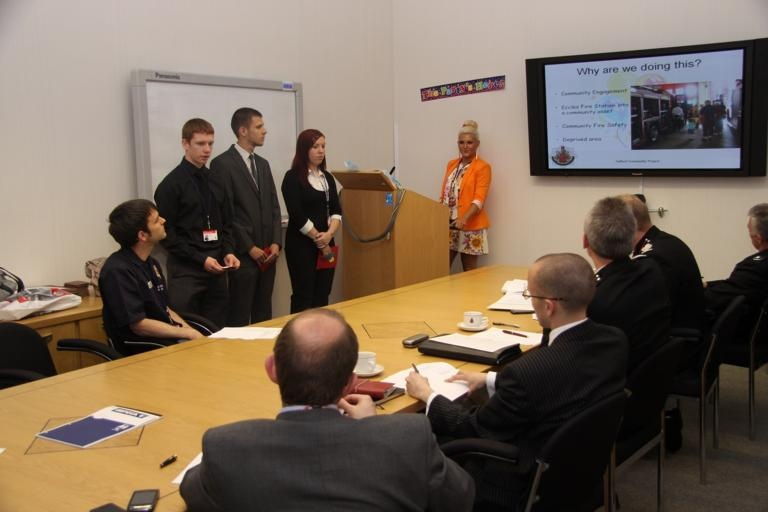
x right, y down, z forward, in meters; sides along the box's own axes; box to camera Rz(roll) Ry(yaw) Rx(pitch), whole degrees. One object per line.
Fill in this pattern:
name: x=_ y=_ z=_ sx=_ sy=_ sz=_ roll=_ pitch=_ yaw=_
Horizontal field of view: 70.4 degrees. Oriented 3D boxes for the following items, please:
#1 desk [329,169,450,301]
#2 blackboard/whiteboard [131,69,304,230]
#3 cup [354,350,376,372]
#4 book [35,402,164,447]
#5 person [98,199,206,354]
desk: x=-0.045 y=-0.283 z=6.231 sx=1.089 sy=1.919 sz=1.344 roll=5 pitch=8 yaw=42
blackboard/whiteboard: x=-1.531 y=-0.932 z=4.820 sx=1.646 sy=1.450 sz=0.162 roll=-3 pitch=2 yaw=-41
cup: x=-0.090 y=0.522 z=2.722 sx=0.110 sy=0.107 sz=0.149 roll=2 pitch=7 yaw=5
book: x=-1.185 y=0.703 z=2.271 sx=0.431 sy=0.039 sz=0.262 roll=-10 pitch=12 yaw=-40
person: x=-1.420 y=0.242 z=3.605 sx=0.784 sy=1.199 sz=0.615 roll=3 pitch=11 yaw=-6
